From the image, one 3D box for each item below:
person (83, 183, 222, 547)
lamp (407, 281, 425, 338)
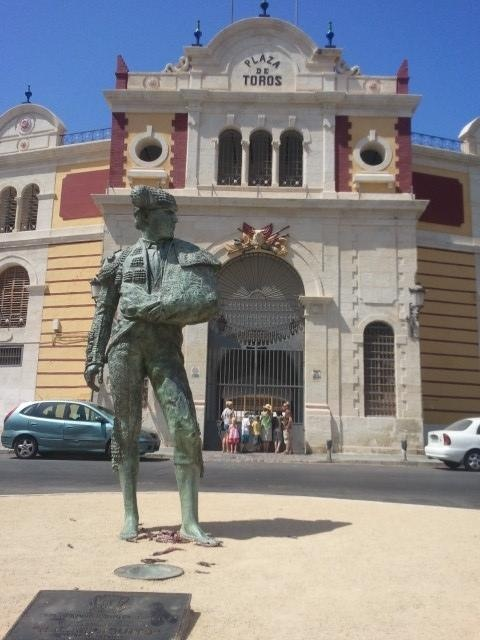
[{"bbox_3d":[-0.600,0.280,4.855,1.185,2.524,0.530,-7,-11,44],"label":"person"},{"bbox_3d":[5.159,-0.321,19.955,0.481,1.652,1.352,-1,-8,12],"label":"lamp"}]
